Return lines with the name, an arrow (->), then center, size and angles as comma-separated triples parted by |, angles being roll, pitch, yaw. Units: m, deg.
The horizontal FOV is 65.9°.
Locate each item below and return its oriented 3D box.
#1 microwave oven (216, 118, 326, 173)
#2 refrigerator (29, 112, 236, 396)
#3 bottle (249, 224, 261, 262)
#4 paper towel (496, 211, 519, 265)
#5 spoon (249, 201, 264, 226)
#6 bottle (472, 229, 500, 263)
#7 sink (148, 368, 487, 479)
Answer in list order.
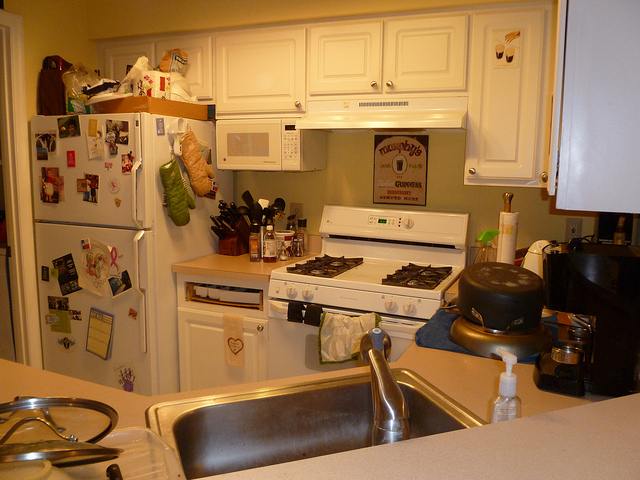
microwave oven -> -0.291, -0.582, 3.108 | 0.534, 0.374, 0.466 | 7, 12, 30
refrigerator -> -1.229, 0.086, 2.990 | 1.049, 1.658, 0.393 | 0, 9, 12
bottle -> -0.396, 0.019, 3.011 | 0.060, 0.227, 0.093 | -3, 9, -4
paper towel -> 0.904, -0.005, 2.394 | 0.086, 0.257, 0.142 | 1, 10, 20
spoon -> -0.392, -0.174, 3.066 | 0.057, 0.186, 0.026 | 5, 37, 10
bottle -> 0.878, 0.057, 2.623 | 0.105, 0.221, 0.530 | 1, 10, 17
sink -> -0.141, 0.509, 1.348 | 0.598, 0.197, 0.222 | -6, 10, -22
